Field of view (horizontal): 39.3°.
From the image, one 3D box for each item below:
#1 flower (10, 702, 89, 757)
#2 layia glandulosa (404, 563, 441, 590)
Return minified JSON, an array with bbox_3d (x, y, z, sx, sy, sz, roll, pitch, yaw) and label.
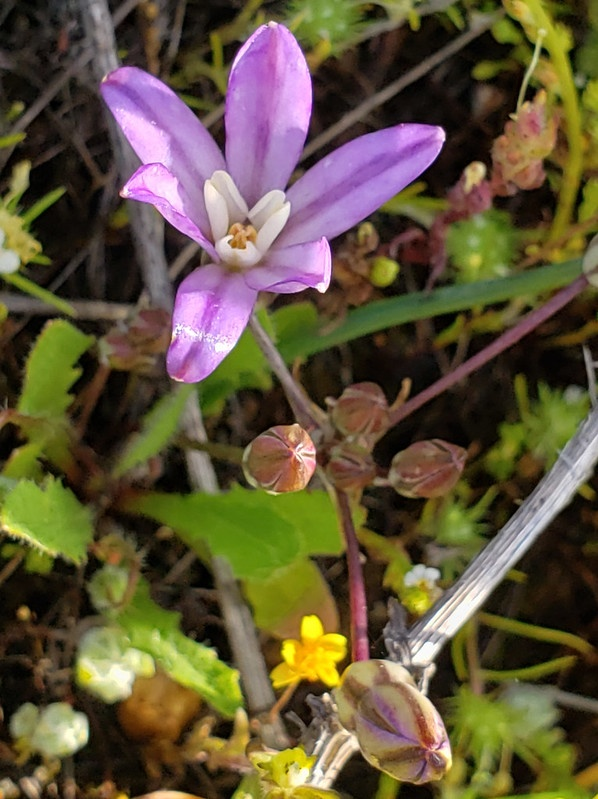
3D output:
[{"bbox_3d":[-0.412,0.541,1.384,0.136,0.025,0.091,21,45,-19],"label":"flower"},{"bbox_3d":[0.225,0.327,1.529,0.067,0.041,0.035,-6,33,7],"label":"layia glandulosa"}]
